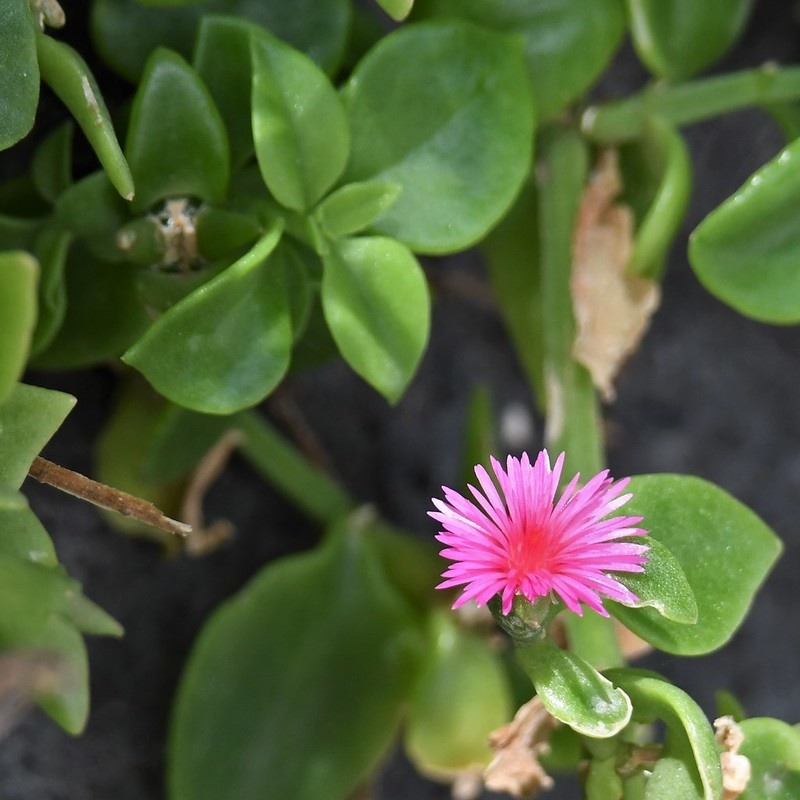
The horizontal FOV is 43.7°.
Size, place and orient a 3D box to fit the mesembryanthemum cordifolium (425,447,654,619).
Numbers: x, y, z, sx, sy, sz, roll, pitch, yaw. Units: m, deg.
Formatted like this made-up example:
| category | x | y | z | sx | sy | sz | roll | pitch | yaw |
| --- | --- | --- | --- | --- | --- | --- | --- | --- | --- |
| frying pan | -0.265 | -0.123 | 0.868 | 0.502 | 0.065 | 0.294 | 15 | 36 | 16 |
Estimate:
| category | x | y | z | sx | sy | sz | roll | pitch | yaw |
| --- | --- | --- | --- | --- | --- | --- | --- | --- | --- |
| mesembryanthemum cordifolium | 0.061 | 0.056 | 0.426 | 0.090 | 0.106 | 0.052 | -6 | 103 | 16 |
